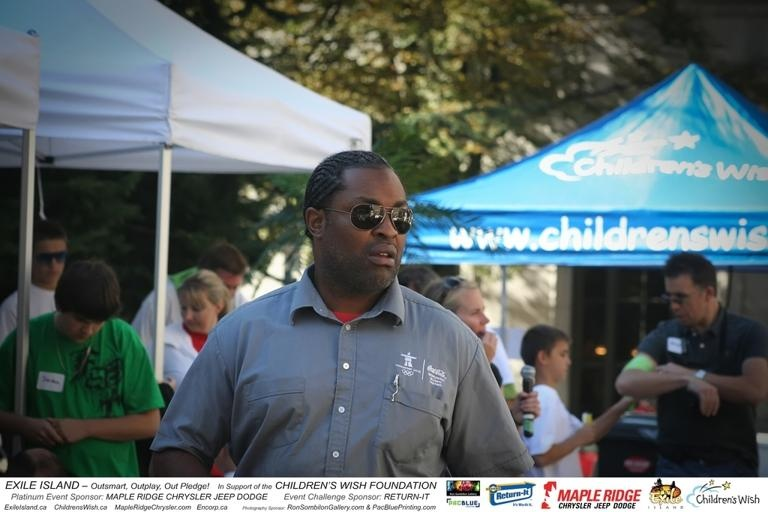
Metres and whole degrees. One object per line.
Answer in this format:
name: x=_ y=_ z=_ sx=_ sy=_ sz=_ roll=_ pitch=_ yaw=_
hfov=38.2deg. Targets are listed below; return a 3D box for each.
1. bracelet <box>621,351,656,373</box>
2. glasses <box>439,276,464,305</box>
bracelet: x=1.998 y=0.849 z=8.689 sx=0.166 sy=0.160 sz=0.169 roll=15 pitch=-22 yaw=32
glasses: x=0.549 y=0.273 z=8.980 sx=0.085 sy=0.202 sz=0.163 roll=27 pitch=9 yaw=-3
